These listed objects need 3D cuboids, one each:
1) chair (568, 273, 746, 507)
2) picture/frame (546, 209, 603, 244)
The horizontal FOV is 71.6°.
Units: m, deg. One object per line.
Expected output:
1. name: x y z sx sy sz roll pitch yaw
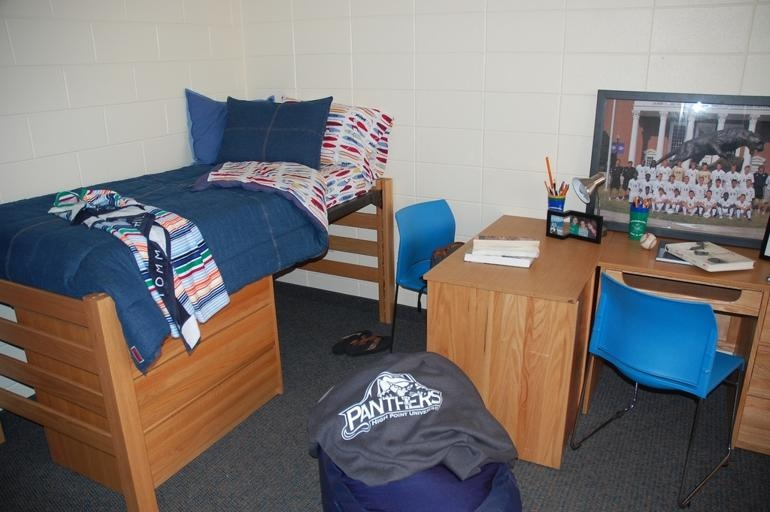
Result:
1. chair: 1.358 0.680 2.676 0.697 1.034 0.619 19 41 41
2. picture/frame: 1.077 -0.168 3.040 0.325 0.191 0.186 2 2 33
